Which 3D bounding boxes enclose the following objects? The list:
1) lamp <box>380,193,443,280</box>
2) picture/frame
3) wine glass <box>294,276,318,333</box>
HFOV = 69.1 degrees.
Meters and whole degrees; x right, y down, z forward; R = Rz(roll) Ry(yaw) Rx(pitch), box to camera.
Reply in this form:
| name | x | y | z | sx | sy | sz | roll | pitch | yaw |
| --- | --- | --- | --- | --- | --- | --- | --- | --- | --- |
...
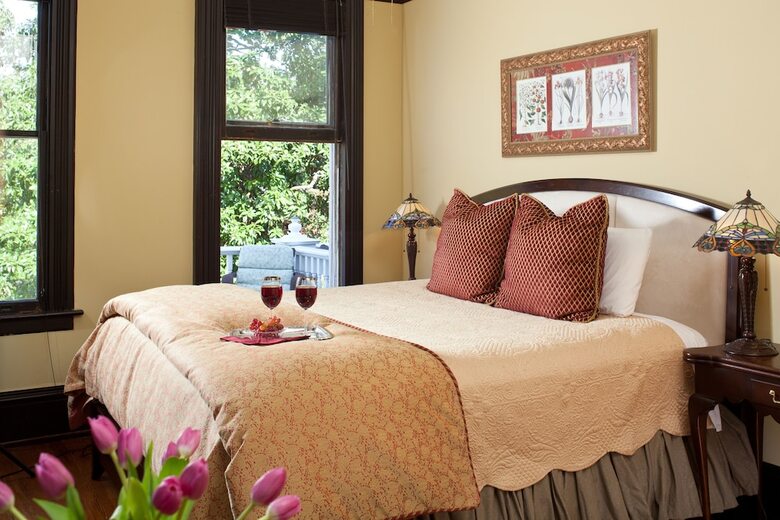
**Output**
| name | x | y | z | sx | sy | sz | roll | pitch | yaw |
| --- | --- | --- | --- | --- | --- | --- | --- | --- | --- |
| lamp | 0.203 | -0.140 | 4.976 | 0.484 | 0.755 | 0.496 | 1 | 4 | 10 |
| picture/frame | 1.329 | -1.152 | 3.933 | 0.049 | 0.687 | 1.041 | 1 | -1 | -43 |
| wine glass | -0.408 | 0.201 | 2.774 | 0.095 | 0.260 | 0.373 | -1 | 10 | -9 |
